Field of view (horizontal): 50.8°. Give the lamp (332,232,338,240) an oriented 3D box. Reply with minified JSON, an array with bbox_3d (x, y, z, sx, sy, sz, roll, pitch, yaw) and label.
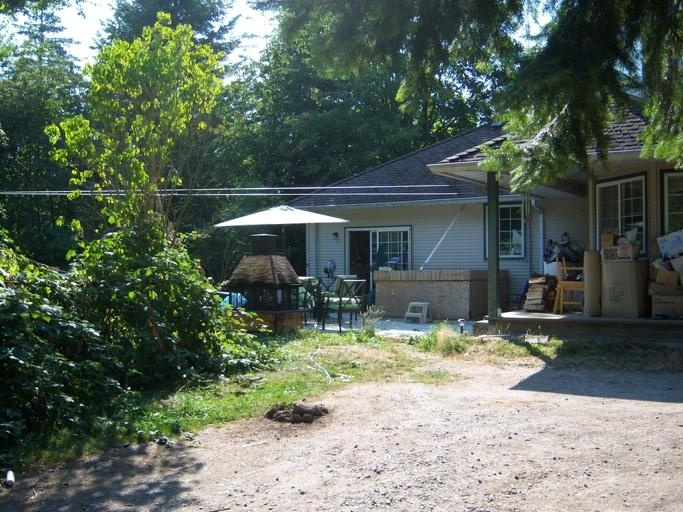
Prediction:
[{"bbox_3d":[-0.170,-0.572,20.294,0.158,0.179,0.223,-2,-8,-6],"label":"lamp"}]

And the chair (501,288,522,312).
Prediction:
[{"bbox_3d":[4.058,1.035,17.145,0.604,0.592,0.422,4,-8,-4],"label":"chair"}]

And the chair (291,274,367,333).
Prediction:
[{"bbox_3d":[-0.151,0.970,15.384,0.973,1.120,1.529,1,-1,-26],"label":"chair"}]

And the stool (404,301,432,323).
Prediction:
[{"bbox_3d":[1.726,1.268,16.301,0.451,0.419,0.485,-1,-3,32],"label":"stool"}]
